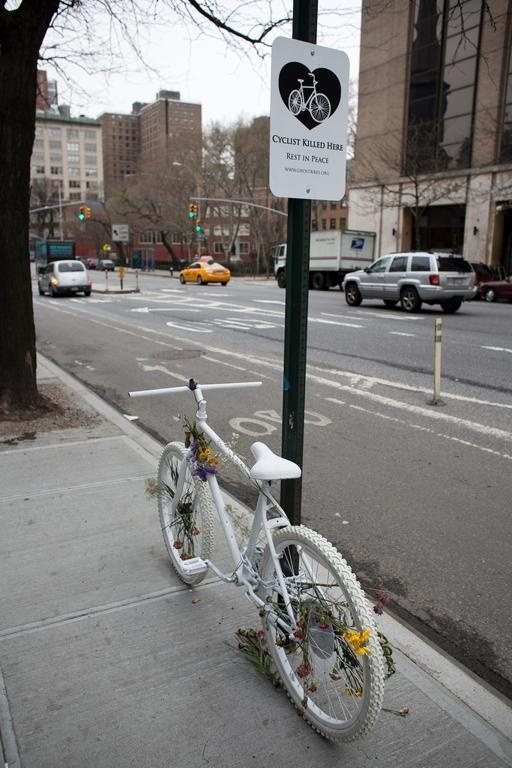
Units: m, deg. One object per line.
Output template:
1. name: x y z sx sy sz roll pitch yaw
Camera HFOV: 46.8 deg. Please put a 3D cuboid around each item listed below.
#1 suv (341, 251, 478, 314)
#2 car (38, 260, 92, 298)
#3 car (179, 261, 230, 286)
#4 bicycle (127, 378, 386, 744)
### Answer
1. suv: 5.418 -3.737 21.571 1.919 2.084 5.195 -3 10 -32
2. car: -10.517 -5.921 32.527 1.679 1.544 3.196 -8 25 -22
3. car: -3.709 -8.192 43.338 1.691 1.667 4.538 -4 11 -36
4. bicycle: -0.002 0.886 3.170 0.592 1.156 1.918 -4 18 -29
